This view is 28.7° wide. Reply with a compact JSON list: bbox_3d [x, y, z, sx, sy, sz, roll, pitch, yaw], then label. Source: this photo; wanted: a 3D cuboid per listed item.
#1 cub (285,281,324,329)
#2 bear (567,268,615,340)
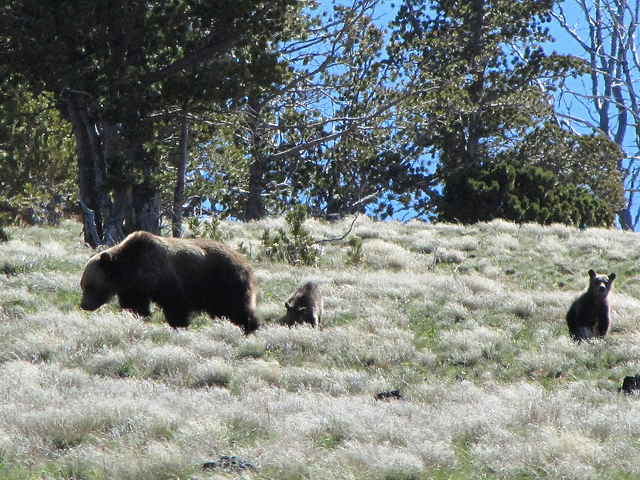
[{"bbox_3d":[-0.438,1.671,33.293,0.997,1.115,1.369,2,2,2],"label":"cub"},{"bbox_3d":[7.102,1.660,32.744,0.998,1.860,0.927,-1,3,13],"label":"bear"}]
